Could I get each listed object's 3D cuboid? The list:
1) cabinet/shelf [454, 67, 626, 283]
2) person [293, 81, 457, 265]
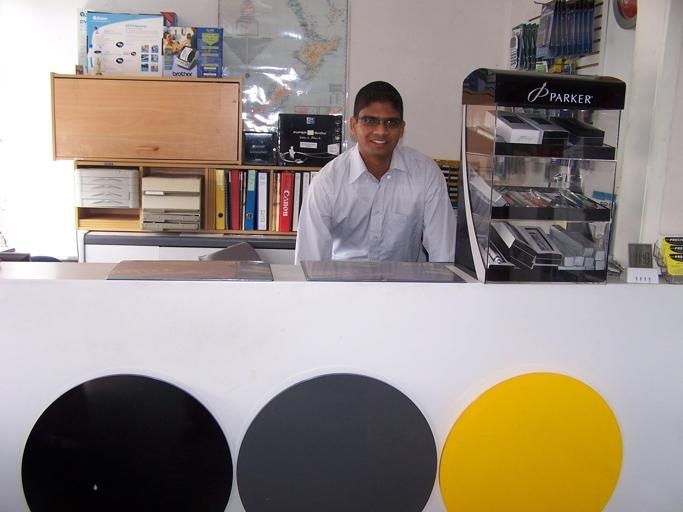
[{"bbox_3d":[0.630,-0.256,1.829,0.410,0.660,0.361,-1,11,-5],"label":"cabinet/shelf"},{"bbox_3d":[0.171,-0.377,2.615,0.750,0.827,0.419,2,6,-6],"label":"person"}]
